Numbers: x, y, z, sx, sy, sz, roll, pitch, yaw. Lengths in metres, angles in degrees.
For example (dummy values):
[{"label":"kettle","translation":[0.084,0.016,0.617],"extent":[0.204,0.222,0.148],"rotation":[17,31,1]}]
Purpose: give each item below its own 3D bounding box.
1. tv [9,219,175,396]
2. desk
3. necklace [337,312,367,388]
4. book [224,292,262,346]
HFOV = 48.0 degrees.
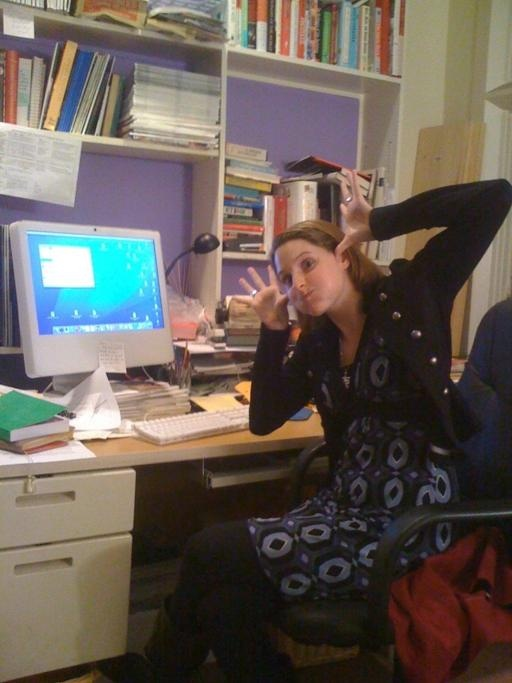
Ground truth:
[{"label":"tv","translation":[-0.454,-0.086,1.570],"extent":[0.508,0.425,0.082],"rotation":[-5,-7,-43]},{"label":"desk","translation":[-0.230,0.626,1.652],"extent":[0.956,0.602,0.483],"rotation":[0,-3,-34]},{"label":"necklace","translation":[0.207,0.050,1.232],"extent":[0.063,0.084,0.031],"rotation":[-8,-20,23]},{"label":"book","translation":[-0.048,-0.063,1.915],"extent":[0.103,0.171,0.176],"rotation":[0,-1,-11]}]
